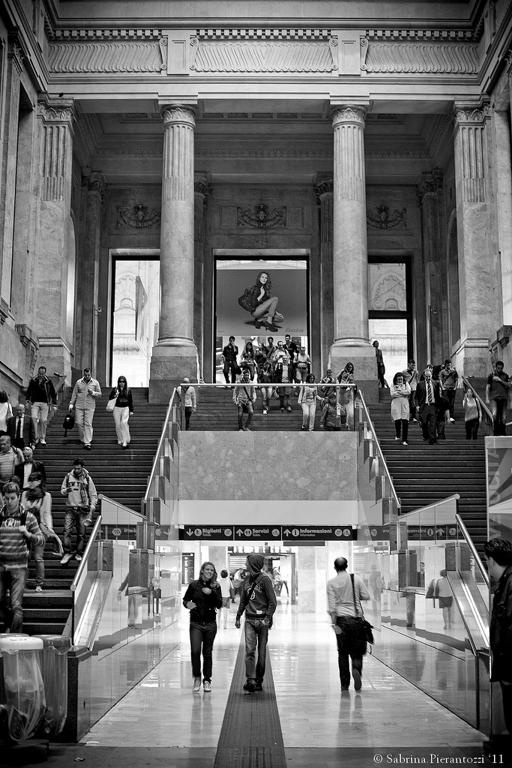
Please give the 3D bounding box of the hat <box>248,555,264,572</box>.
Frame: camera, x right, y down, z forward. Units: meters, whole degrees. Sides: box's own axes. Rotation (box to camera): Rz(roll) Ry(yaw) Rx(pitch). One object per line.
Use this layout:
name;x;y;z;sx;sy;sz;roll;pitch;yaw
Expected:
hat;0.011;1.586;7.222;0.124;0.213;0.157;1;-10;-17

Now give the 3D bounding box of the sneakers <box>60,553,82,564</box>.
sneakers;-2.086;1.989;9.297;0.229;0.117;0.378;2;-7;-12

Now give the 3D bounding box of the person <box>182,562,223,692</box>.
person;-0.488;2.267;7.589;0.325;1.280;1.213;0;-6;-2

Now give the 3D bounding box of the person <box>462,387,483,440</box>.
person;4.041;0.574;15.442;0.236;0.933;0.647;-1;-6;13

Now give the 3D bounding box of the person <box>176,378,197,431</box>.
person;-1.415;0.460;16.724;0.373;1.124;1.849;1;-7;-6

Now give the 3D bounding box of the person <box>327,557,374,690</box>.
person;0.891;2.322;7.874;0.416;1.295;0.887;0;-6;7

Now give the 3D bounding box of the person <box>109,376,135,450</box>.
person;-2.540;0.537;15.455;0.429;1.425;1.450;1;-6;-10

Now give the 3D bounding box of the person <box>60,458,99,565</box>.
person;-2.098;1.511;9.757;0.392;1.179;1.173;1;-6;-13

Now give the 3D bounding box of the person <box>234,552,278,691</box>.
person;-0.007;2.178;7.376;0.322;1.295;0.872;0;-6;-2

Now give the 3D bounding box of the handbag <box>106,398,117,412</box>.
handbag;-2.788;0.421;15.922;0.070;0.324;0.236;12;-7;-38
